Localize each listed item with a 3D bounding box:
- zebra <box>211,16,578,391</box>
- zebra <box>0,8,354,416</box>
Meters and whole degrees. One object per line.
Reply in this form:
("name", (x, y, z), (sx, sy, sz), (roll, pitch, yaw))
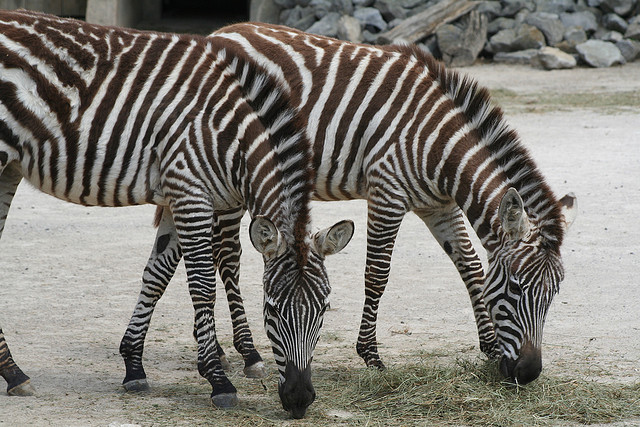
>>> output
("zebra", (0.597, -0.188, 11.398), (1.238, 2.862, 5.057), (-9, 22, -38))
("zebra", (-1.318, -0.053, 9.970), (3.016, 3.459, 0.977), (3, 11, 9))
